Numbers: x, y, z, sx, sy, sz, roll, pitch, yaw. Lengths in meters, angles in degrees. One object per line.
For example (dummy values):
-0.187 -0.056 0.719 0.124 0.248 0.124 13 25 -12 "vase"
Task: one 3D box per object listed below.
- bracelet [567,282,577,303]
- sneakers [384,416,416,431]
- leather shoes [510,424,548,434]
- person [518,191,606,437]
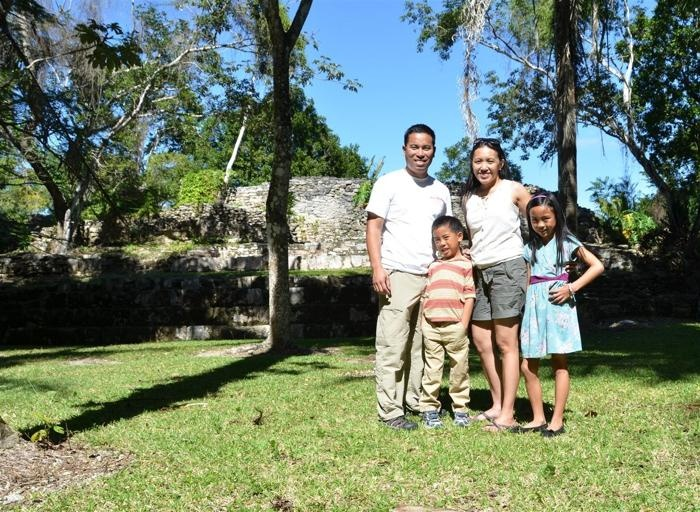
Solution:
2.074 0.347 5.097 0.052 0.168 0.104 0 2 19 "bracelet"
0.492 1.643 5.359 0.291 0.127 0.107 -6 -7 33 "sneakers"
1.694 1.612 5.139 0.325 0.086 0.123 3 -10 5 "leather shoes"
1.965 0.523 5.148 0.672 2.258 0.526 0 3 17 "person"
